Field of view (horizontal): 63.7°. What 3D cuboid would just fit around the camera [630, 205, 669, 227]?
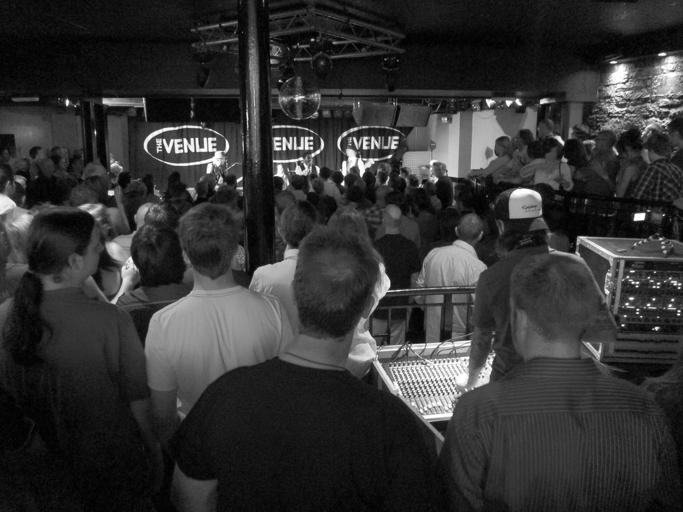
[{"bbox_3d":[1.931,-0.257,3.445,0.203,0.065,0.206,-20,13,-27],"label":"camera"}]

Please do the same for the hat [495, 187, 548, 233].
[{"bbox_3d":[0.851,-0.214,2.639,0.154,0.147,0.255,1,7,7],"label":"hat"}]

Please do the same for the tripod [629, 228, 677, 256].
[{"bbox_3d":[1.551,-0.067,2.776,0.216,0.095,0.236,2,8,12],"label":"tripod"}]
